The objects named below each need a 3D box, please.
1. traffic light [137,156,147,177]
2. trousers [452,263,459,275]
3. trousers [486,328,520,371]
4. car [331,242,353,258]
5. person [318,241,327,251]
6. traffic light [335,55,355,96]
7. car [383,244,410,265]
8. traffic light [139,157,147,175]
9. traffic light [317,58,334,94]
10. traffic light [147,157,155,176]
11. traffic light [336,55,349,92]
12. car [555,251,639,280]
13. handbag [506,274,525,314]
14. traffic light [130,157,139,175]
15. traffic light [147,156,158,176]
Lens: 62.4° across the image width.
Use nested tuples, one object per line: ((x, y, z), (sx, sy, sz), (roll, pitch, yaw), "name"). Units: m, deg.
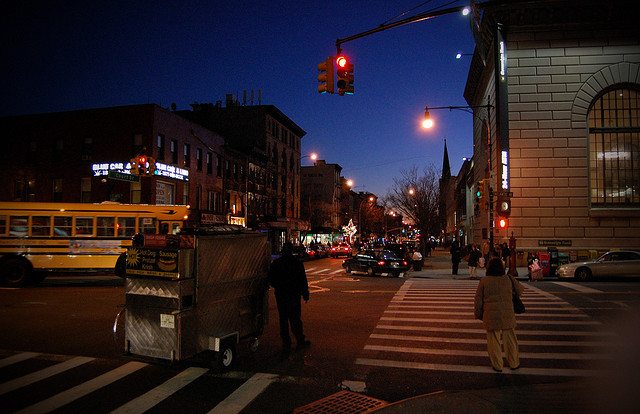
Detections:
((-10.810, -2.531, 32.103), (0.569, 1.154, 0.434), (-1, 9, -5), "traffic light")
((8.828, 4.017, 34.366), (0.304, 0.254, 0.966), (-3, -22, 23), "trousers")
((5.950, 4.589, 17.149), (1.022, 1.360, 0.487), (-1, 9, -7), "trousers")
((2.364, 4.797, 58.995), (1.380, 1.158, 3.172), (-1, -8, 6), "car")
((0.221, 4.373, 60.059), (0.536, 0.759, 0.999), (-5, -5, 25), "person")
((1.067, -5.644, 22.398), (0.705, 1.647, 0.445), (-2, 9, -9), "traffic light")
((6.267, 3.718, 42.497), (1.280, 1.271, 2.546), (1, 1, 11), "car")
((-10.721, -2.545, 32.031), (0.450, 0.982, 0.326), (-4, 10, -24), "traffic light")
((0.274, -5.626, 22.431), (0.629, 1.455, 0.627), (0, 9, 2), "traffic light")
((-10.251, -2.512, 32.024), (0.317, 1.026, 0.417), (-4, 10, -21), "traffic light")
((0.964, -5.693, 22.360), (0.539, 1.538, 0.479), (0, 9, -2), "traffic light")
((15.959, 3.353, 30.110), (3.613, 1.170, 1.721), (0, -7, 12), "car")
((6.598, 2.928, 17.527), (0.816, 1.395, 0.490), (-8, 12, -40), "handbag")
((-11.302, -2.509, 32.176), (0.410, 1.013, 0.754), (-7, 12, -37), "traffic light")
((-10.351, -2.507, 32.350), (0.393, 1.146, 1.090), (-3, 10, -20), "traffic light")
